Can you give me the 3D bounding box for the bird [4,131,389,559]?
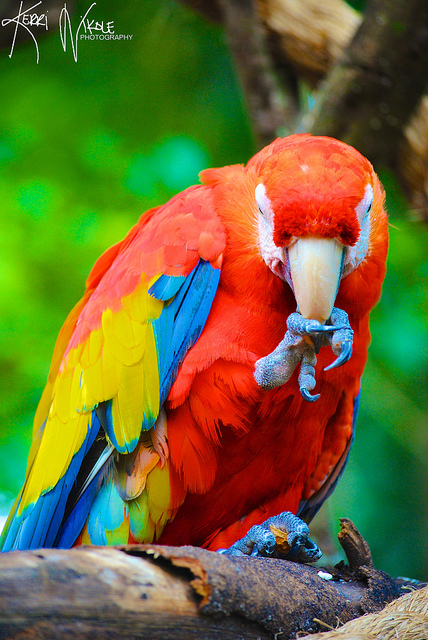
[{"bbox_3d":[0.007,0.163,1.640,0.755,0.474,0.751,-10,62,27],"label":"bird"}]
